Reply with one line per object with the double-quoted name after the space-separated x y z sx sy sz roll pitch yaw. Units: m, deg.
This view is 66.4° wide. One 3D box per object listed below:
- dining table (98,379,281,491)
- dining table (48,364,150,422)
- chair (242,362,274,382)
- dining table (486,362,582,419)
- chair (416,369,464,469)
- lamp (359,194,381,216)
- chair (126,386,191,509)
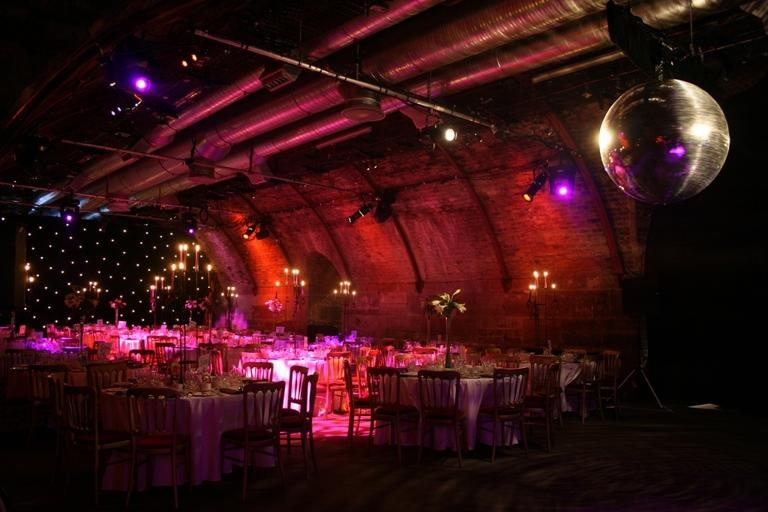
-2.188 2.117 7.219 1.608 0.711 1.481 -4 -20 5 "dining table"
-4.109 1.827 8.384 1.094 0.577 1.009 0 -12 -11 "dining table"
-1.863 1.683 8.587 0.355 0.459 0.345 0 -16 0 "chair"
2.914 2.413 10.561 1.227 0.836 1.256 -8 -19 35 "dining table"
0.751 2.112 7.997 0.632 1.241 0.726 2 1 7 "chair"
-0.409 -1.384 15.603 0.515 0.552 0.838 1 1 -3 "lamp"
-2.507 2.071 6.538 0.685 1.247 0.601 1 1 -13 "chair"
